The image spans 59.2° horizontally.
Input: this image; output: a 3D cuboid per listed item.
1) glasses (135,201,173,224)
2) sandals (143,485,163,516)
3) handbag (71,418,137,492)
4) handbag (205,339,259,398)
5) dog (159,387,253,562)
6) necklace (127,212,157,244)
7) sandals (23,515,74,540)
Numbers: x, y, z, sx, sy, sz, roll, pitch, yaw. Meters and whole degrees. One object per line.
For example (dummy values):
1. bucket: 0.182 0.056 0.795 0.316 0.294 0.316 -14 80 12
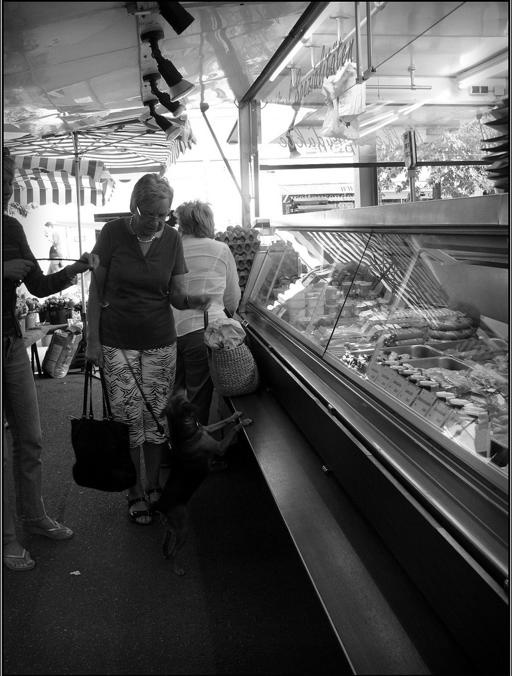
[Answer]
1. glasses: -0.438 -0.544 1.932 0.152 0.098 0.103 -5 5 -16
2. sandals: -0.499 0.790 2.182 0.078 0.245 0.093 -3 -27 -12
3. handbag: -0.657 0.476 1.909 0.263 0.327 0.142 2 16 8
4. handbag: -0.151 0.183 2.718 0.249 0.369 0.193 -16 0 -12
5. dog: -0.228 0.672 2.152 0.158 0.658 0.336 12 1 40
6. necklace: -0.492 -0.482 1.982 0.100 0.094 0.136 16 25 -41
7. sandals: -0.974 0.899 2.116 0.178 0.077 0.105 16 5 -21
